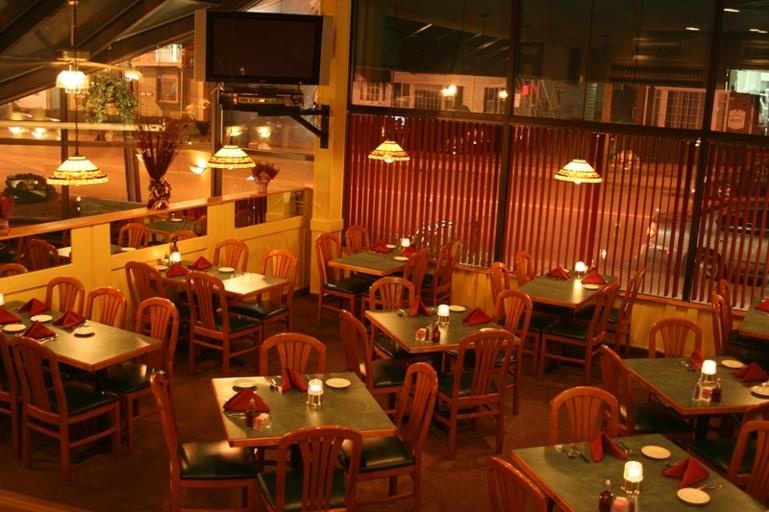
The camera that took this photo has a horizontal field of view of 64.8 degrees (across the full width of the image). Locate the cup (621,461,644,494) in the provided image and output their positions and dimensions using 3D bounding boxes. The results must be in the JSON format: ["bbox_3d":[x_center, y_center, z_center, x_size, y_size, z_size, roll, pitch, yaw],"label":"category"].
[{"bbox_3d":[1.753,1.558,4.285,0.182,0.204,0.176,0,4,0],"label":"cup"}]

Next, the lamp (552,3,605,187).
[{"bbox_3d":[2.686,-2.167,7.957,0.566,2.490,1.267,7,10,19],"label":"lamp"}]

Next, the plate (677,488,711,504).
[{"bbox_3d":[2.181,1.697,4.270,0.224,0.051,0.159,-1,9,-24],"label":"plate"}]

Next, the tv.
[{"bbox_3d":[-1.685,-2.905,8.548,1.941,0.967,0.211,3,7,4],"label":"tv"}]

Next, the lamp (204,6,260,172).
[{"bbox_3d":[-2.291,-2.276,9.130,0.724,1.991,2.219,1,9,-13],"label":"lamp"}]

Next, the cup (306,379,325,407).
[{"bbox_3d":[-0.578,1.159,5.167,0.183,0.195,0.185,2,6,0],"label":"cup"}]

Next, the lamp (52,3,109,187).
[{"bbox_3d":[-3.899,-2.089,7.661,0.622,2.500,2.407,-1,10,-27],"label":"lamp"}]

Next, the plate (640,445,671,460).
[{"bbox_3d":[2.111,1.529,4.694,0.215,0.048,0.188,-5,12,-44],"label":"plate"}]
